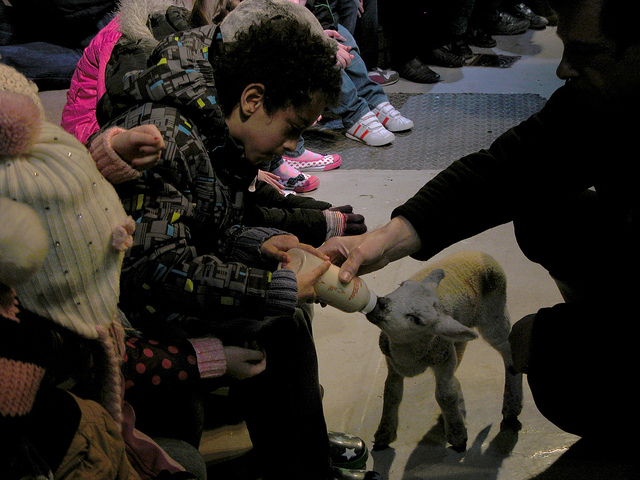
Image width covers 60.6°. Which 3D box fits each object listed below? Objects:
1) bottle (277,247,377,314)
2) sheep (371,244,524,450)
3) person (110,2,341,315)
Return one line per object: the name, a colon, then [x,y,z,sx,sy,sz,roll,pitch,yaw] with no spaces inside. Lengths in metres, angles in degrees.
bottle: [0.020,0.124,1.778,0.247,0.093,0.098,24,7,-8]
sheep: [0.660,0.345,1.983,0.456,0.609,0.903,-4,0,40]
person: [-0.282,-0.265,1.709,0.692,0.857,0.703,3,30,-6]
